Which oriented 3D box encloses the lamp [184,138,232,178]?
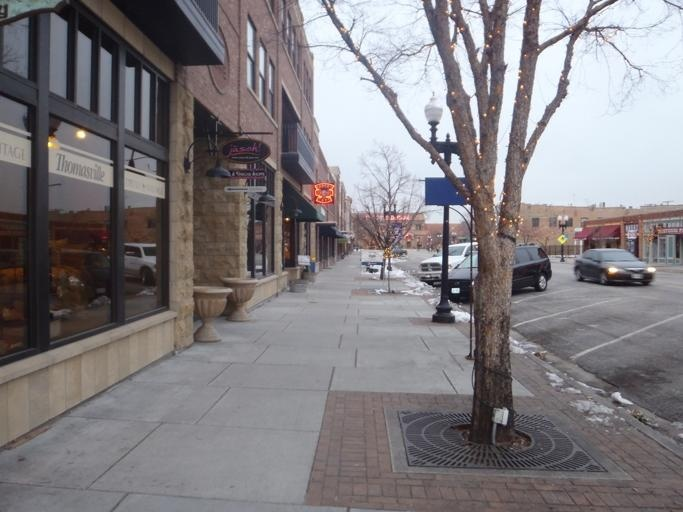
[{"bbox_3d":[-2.448,-1.819,10.512,0.829,0.675,0.469,2,9,10],"label":"lamp"}]

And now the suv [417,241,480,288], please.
[{"bbox_3d":[4.036,0.282,21.685,1.575,1.498,3.285,-3,-2,42],"label":"suv"}]

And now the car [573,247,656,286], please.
[{"bbox_3d":[10.589,0.426,22.847,1.308,1.050,3.041,0,-6,2],"label":"car"}]
